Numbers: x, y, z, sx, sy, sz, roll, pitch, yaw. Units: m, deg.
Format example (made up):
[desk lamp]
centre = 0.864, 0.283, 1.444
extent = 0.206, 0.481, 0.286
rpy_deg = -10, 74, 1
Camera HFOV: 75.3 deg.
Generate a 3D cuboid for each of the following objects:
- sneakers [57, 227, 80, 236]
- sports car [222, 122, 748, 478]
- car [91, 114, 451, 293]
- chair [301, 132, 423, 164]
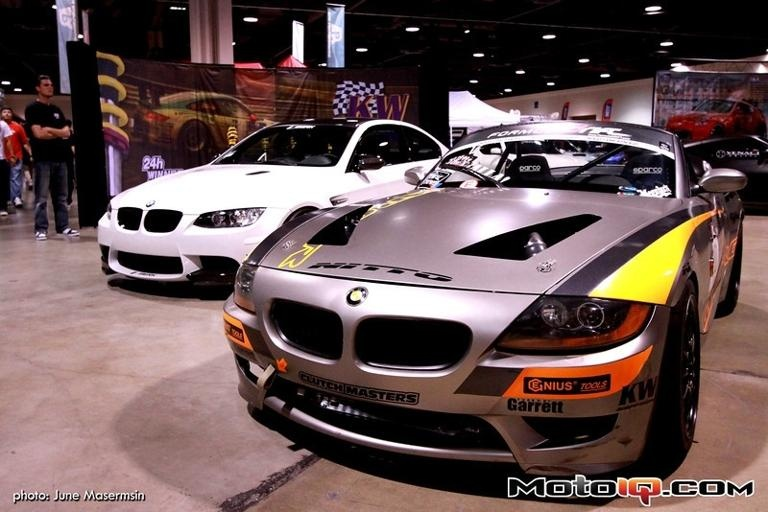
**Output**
[sneakers]
centre = -5.037, -0.367, 7.945
extent = 0.428, 0.142, 0.141
rpy_deg = 3, 19, 12
[sports car]
centre = 1.184, -0.140, 3.759
extent = 2.281, 1.271, 4.353
rpy_deg = 3, 14, 36
[car]
centre = -0.700, -0.740, 5.707
extent = 1.878, 1.074, 4.100
rpy_deg = 7, 11, 37
[chair]
centre = -0.012, -1.281, 5.752
extent = 0.510, 0.253, 0.795
rpy_deg = 17, 31, 25
